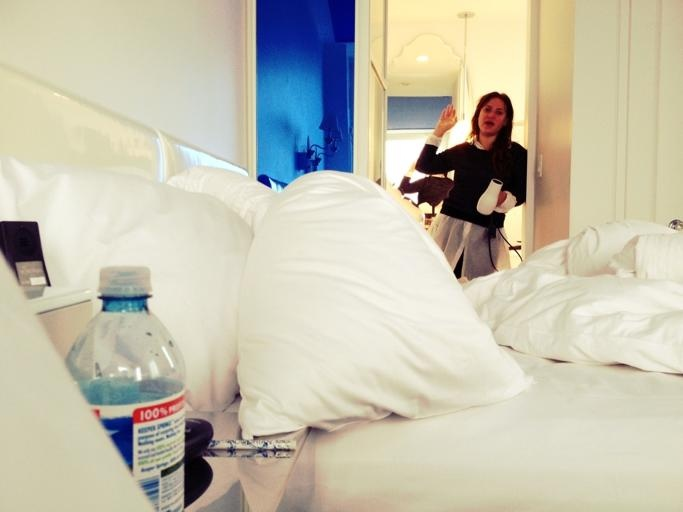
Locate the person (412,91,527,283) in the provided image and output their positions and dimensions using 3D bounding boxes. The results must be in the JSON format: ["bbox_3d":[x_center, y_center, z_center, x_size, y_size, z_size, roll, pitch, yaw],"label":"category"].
[{"bbox_3d":[0.760,-0.249,3.620,0.484,1.411,0.508,17,32,26],"label":"person"}]

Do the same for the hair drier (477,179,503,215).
[{"bbox_3d":[0.785,-0.303,3.254,0.103,0.178,0.104,15,32,-15],"label":"hair drier"}]
